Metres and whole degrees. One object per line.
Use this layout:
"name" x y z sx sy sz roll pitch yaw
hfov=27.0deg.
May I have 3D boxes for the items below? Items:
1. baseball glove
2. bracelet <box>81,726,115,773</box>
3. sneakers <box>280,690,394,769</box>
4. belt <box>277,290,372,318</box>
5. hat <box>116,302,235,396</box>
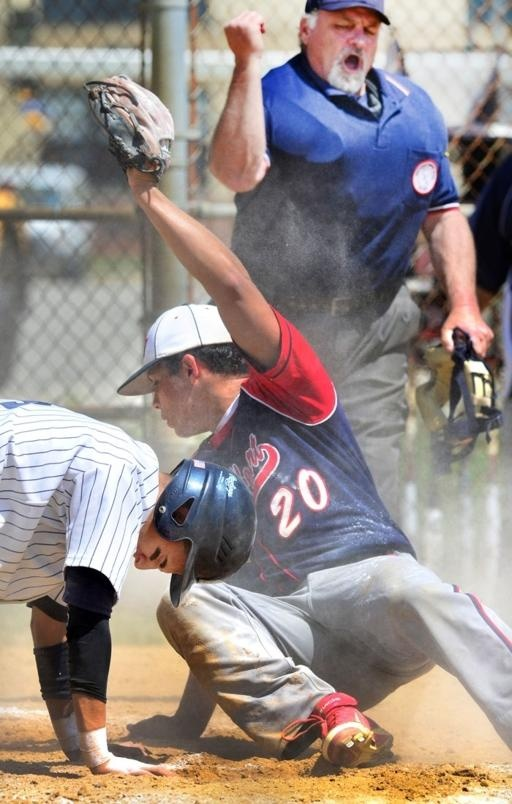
"baseball glove" -0.285 -0.698 2.663 0.262 0.119 0.205 55 31 0
"bracelet" -0.308 0.684 2.111 0.059 0.121 0.053 -22 46 -37
"sneakers" 0.172 0.720 2.332 0.135 0.236 0.106 -43 91 -20
"belt" 0.208 -0.295 3.146 0.143 0.065 0.186 -2 2 -5
"hat" -0.212 -0.134 2.822 0.312 0.166 0.191 -23 -3 0
